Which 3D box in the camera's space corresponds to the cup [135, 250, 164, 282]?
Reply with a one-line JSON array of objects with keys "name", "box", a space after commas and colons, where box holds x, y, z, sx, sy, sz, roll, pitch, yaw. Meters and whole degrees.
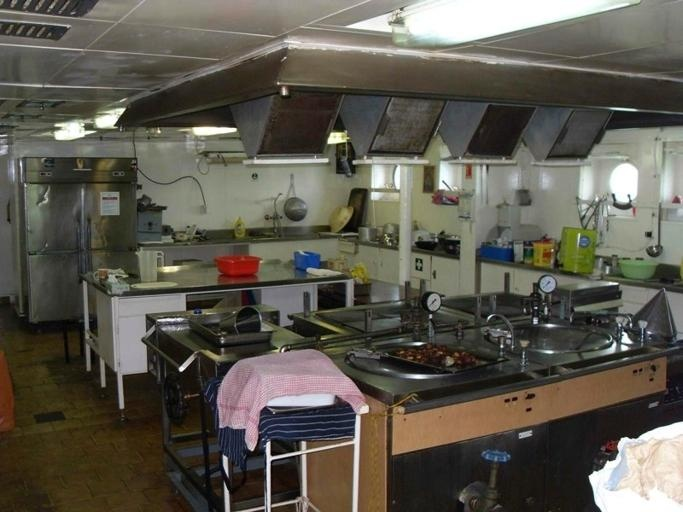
[{"name": "cup", "box": [-1.917, 0.089, 5.655, 0.174, 0.291, 0.475, 0, 4, -23]}]

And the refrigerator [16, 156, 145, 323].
[{"name": "refrigerator", "box": [-3.667, -0.237, 7.986, 1.383, 2.309, 0.460, -1, 4, -37]}]

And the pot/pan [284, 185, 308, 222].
[{"name": "pot/pan", "box": [-0.821, -0.896, 10.099, 0.410, 0.630, 0.226, -6, -4, -24]}]

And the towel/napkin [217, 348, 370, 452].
[{"name": "towel/napkin", "box": [-0.252, 0.604, 2.813, 0.548, 0.261, 0.539, -4, 6, -19]}]

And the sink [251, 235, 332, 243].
[{"name": "sink", "box": [-0.854, -0.292, 9.678, 1.510, 0.139, 0.255, -1, 4, -39]}]

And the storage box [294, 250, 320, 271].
[{"name": "storage box", "box": [-0.383, 0.059, 6.469, 0.176, 0.190, 0.311, -3, 6, -35]}]

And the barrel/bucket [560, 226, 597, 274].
[{"name": "barrel/bucket", "box": [2.754, -0.063, 6.688, 0.389, 0.518, 0.429, 2, 4, 21]}]

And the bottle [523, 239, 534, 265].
[{"name": "bottle", "box": [2.371, -0.053, 7.295, 0.116, 0.275, 0.351, 2, 3, 16]}]

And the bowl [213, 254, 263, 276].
[{"name": "bowl", "box": [-1.100, 0.107, 5.966, 0.338, 0.127, 0.274, -2, 5, 0]}]
